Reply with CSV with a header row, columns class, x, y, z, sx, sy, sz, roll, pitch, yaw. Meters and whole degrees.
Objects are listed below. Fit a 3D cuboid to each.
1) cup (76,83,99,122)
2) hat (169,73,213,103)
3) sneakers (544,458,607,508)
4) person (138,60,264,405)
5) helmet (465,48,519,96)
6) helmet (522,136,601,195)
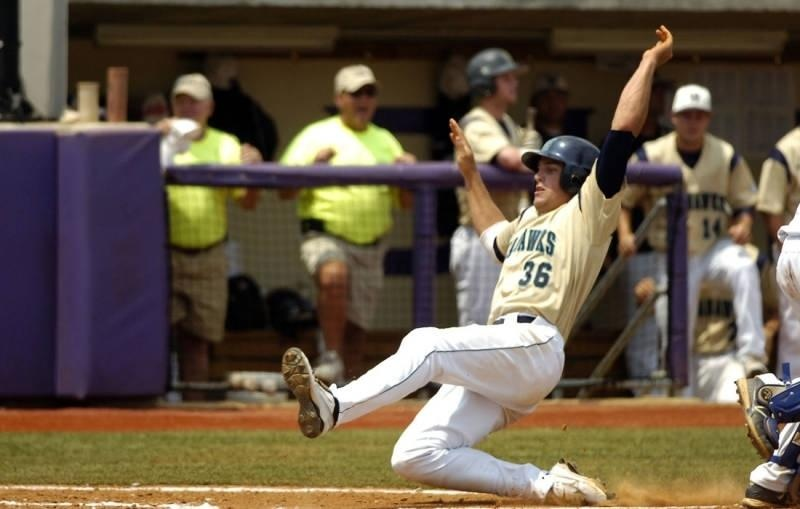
class,x,y,z,sx,sy,sz,roll,pitch,yaw
cup,-2.361,-1.153,14.294,0.171,0.308,0.219,2,2,-11
hat,-1.567,-1.256,14.188,0.297,0.205,0.249,2,2,-6
sneakers,1.142,1.554,12.477,0.357,0.238,0.175,8,5,19
person,-1.500,-0.109,14.364,0.738,2.477,0.339,1,2,-40
helmet,0.703,-1.504,15.140,0.422,0.212,0.300,-24,9,0
helmet,1.058,-0.639,12.813,0.459,0.366,0.369,11,-20,1
